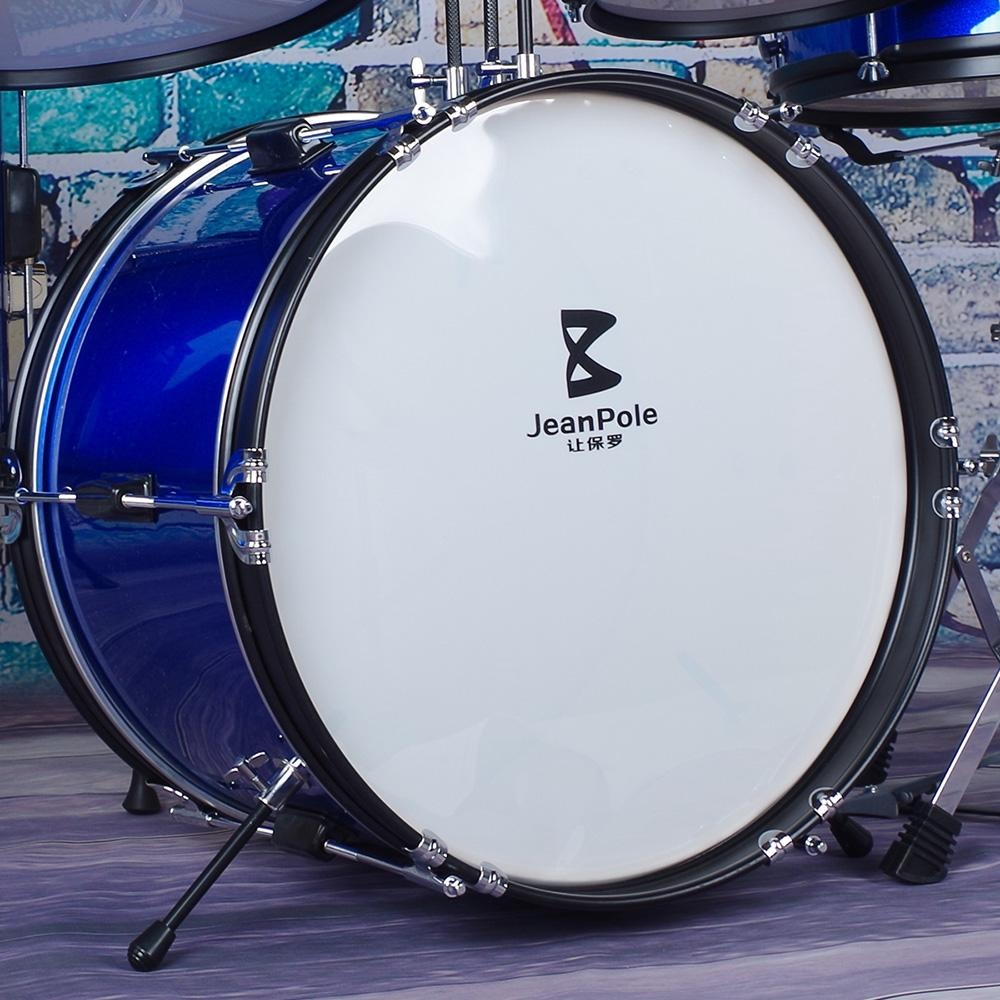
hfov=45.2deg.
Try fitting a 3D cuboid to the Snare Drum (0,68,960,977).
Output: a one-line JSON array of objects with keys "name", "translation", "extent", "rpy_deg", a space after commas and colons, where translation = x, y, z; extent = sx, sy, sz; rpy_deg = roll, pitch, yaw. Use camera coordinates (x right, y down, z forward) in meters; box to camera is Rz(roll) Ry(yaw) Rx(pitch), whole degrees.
[{"name": "Snare Drum", "translation": [-0.042, 0.013, 1.147], "extent": [0.911, 0.803, 0.485], "rpy_deg": [2, 11, 14]}]
